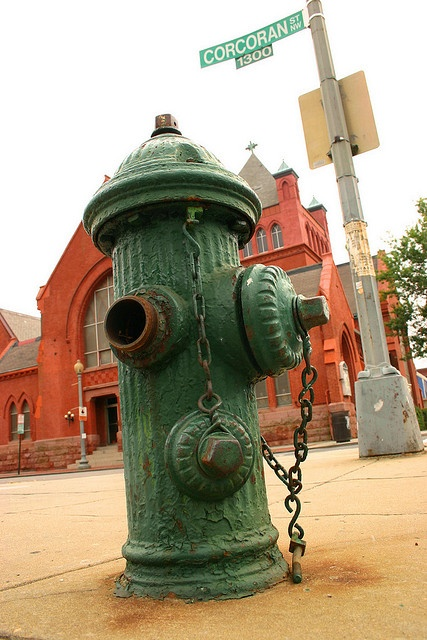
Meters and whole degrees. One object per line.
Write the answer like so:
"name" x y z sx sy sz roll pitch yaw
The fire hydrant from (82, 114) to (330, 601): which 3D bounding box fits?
"fire hydrant" -0.040 0.002 1.798 0.818 1.695 0.543 -3 -7 -7
